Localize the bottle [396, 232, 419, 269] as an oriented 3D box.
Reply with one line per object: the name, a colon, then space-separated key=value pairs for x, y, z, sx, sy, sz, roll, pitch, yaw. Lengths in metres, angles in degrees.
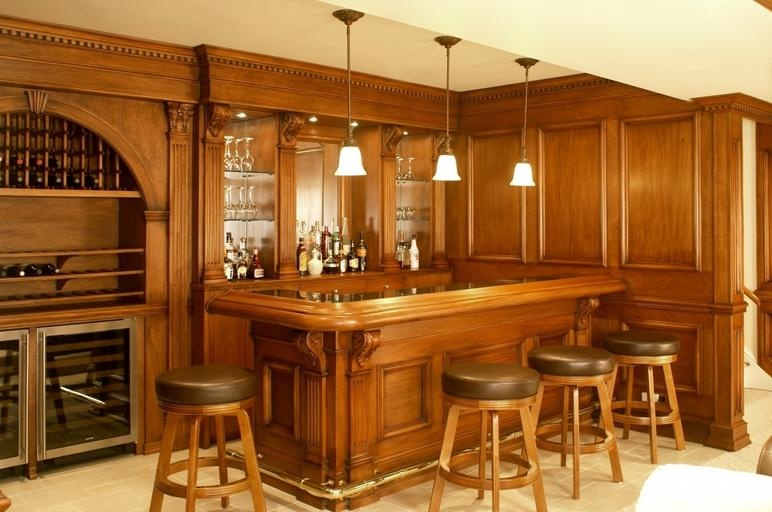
bottle: x=0.262 y=-0.057 z=6.727 sx=0.263 sy=0.378 sz=0.370 roll=-1 pitch=6 yaw=3

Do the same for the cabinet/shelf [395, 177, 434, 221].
cabinet/shelf: x=0.327 y=-0.688 z=6.807 sx=0.641 sy=0.487 sz=0.330 roll=-1 pitch=-5 yaw=6

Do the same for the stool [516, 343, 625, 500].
stool: x=1.472 y=1.243 z=4.661 sx=0.884 sy=0.912 sz=0.783 roll=2 pitch=-6 yaw=4

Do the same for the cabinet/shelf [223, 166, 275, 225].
cabinet/shelf: x=-1.318 y=-0.596 z=5.856 sx=0.635 sy=0.488 sz=0.213 roll=3 pitch=8 yaw=22

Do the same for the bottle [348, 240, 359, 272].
bottle: x=-0.351 y=-0.004 z=6.441 sx=0.110 sy=0.316 sz=0.304 roll=-1 pitch=6 yaw=7

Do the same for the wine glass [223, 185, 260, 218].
wine glass: x=-1.422 y=-0.539 z=5.709 sx=0.169 sy=0.332 sz=0.419 roll=-3 pitch=-3 yaw=44

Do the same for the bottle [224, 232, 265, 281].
bottle: x=-1.393 y=-0.014 z=5.766 sx=0.368 sy=0.453 sz=0.434 roll=-3 pitch=6 yaw=-12
